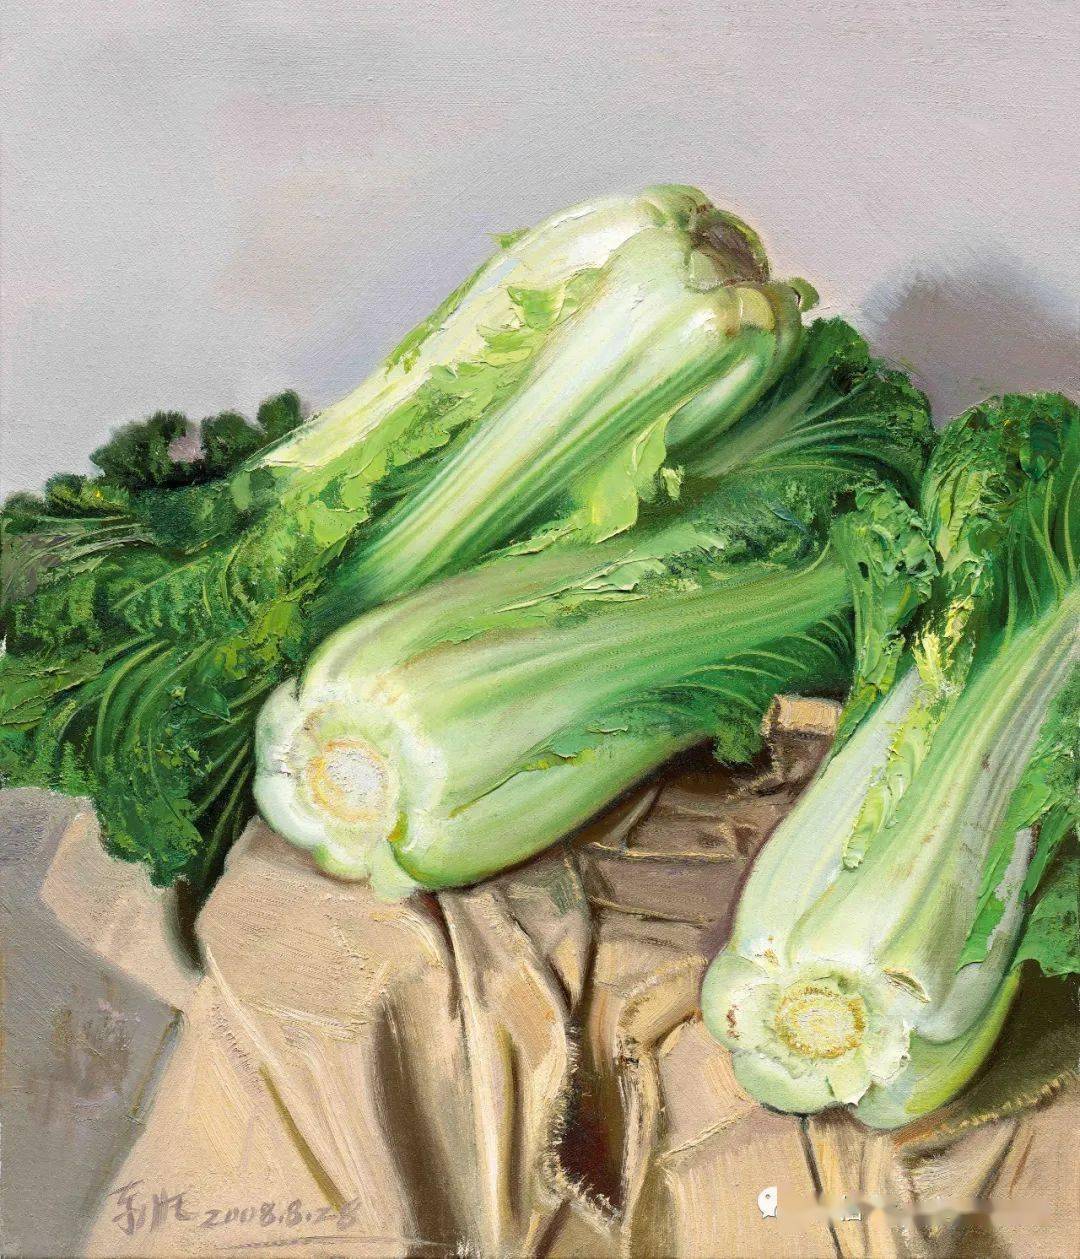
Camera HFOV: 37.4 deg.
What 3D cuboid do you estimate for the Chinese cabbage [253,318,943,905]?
[{"bbox_3d":[0.118,0.017,2.237,1.042,0.422,0.518,-34,57,-12],"label":"Chinese cabbage"}]
